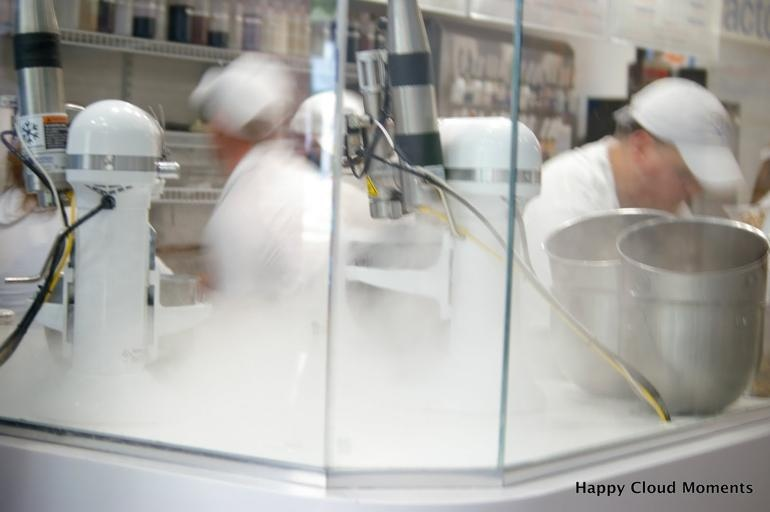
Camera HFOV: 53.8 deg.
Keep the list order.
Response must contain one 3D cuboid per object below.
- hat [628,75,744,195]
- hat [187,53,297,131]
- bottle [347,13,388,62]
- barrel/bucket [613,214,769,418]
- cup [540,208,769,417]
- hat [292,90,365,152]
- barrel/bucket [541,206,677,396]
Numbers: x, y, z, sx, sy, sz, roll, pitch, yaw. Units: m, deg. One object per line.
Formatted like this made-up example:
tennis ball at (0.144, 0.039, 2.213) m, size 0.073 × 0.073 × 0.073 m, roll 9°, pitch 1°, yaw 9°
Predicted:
hat at (0.538, -0.243, 1.354) m, size 0.242 × 0.123 × 0.175 m, roll 28°, pitch 28°, yaw 33°
hat at (-0.209, -0.240, 1.114) m, size 0.166 × 0.116 × 0.046 m, roll 7°, pitch 10°, yaw 30°
bottle at (-0.026, -0.316, 1.105) m, size 0.063 × 0.069 × 0.005 m, roll -4°, pitch 10°, yaw -31°
barrel/bucket at (0.531, 0.092, 1.430) m, size 0.333 × 0.363 × 0.325 m, roll -4°, pitch 13°, yaw 1°
cup at (0.438, 0.083, 1.398) m, size 0.326 × 0.292 × 0.405 m, roll -4°, pitch 5°, yaw -16°
hat at (-0.082, -0.200, 1.143) m, size 0.091 × 0.071 × 0.100 m, roll 4°, pitch 29°, yaw 27°
barrel/bucket at (0.374, 0.073, 1.236) m, size 0.291 × 0.288 × 0.200 m, roll -2°, pitch 14°, yaw 14°
